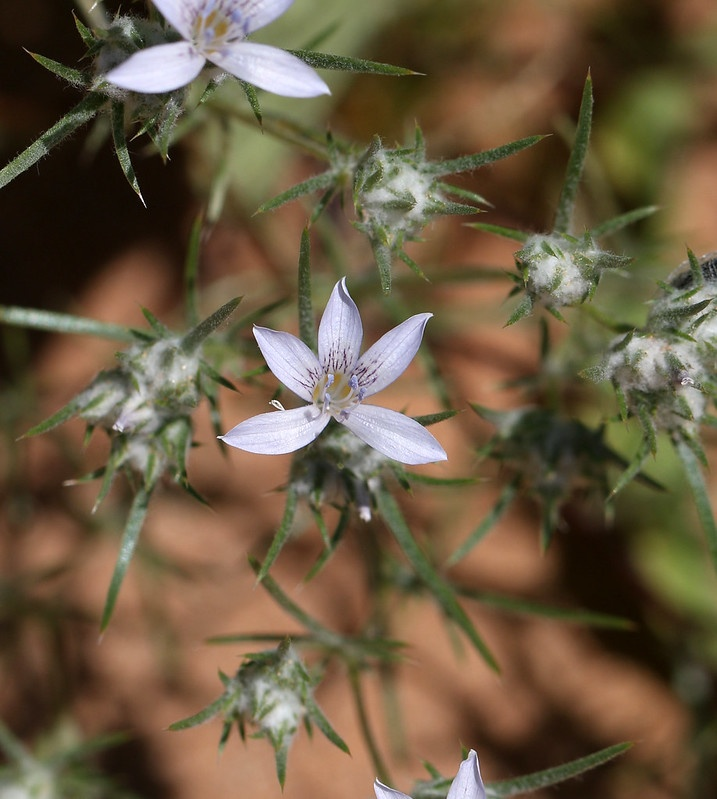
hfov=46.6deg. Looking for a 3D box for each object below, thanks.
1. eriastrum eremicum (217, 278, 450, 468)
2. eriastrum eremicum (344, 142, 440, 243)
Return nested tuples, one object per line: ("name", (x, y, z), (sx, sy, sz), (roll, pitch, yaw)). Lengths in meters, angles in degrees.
("eriastrum eremicum", (-0.095, -0.056, 2.507), (0.638, 0.495, 0.384), (-4, -44, -7))
("eriastrum eremicum", (0.112, -0.661, 2.665), (0.279, 0.296, 0.291), (-19, -44, 9))
